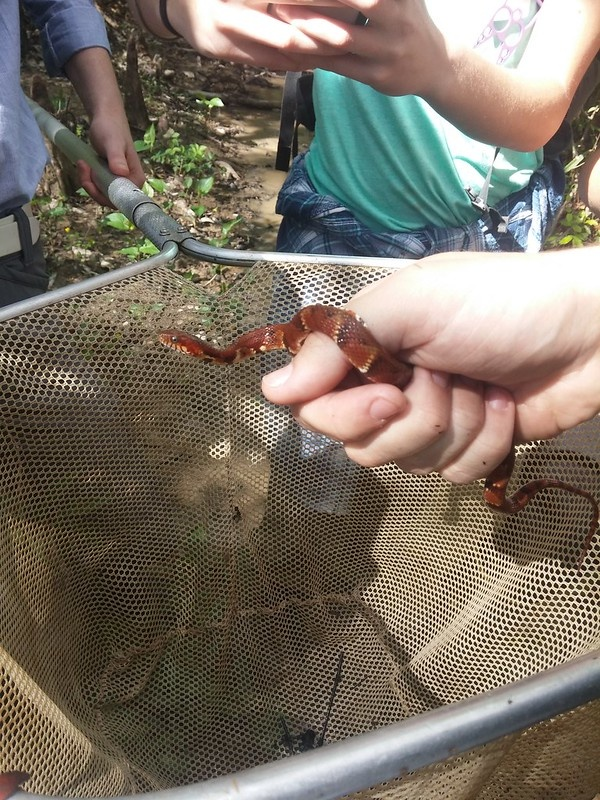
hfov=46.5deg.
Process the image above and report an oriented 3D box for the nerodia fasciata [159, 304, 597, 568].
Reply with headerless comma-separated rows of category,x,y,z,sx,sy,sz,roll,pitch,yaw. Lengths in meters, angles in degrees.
nerodia fasciata,0.230,-0.035,1.764,1.185,0.428,0.306,29,53,12
